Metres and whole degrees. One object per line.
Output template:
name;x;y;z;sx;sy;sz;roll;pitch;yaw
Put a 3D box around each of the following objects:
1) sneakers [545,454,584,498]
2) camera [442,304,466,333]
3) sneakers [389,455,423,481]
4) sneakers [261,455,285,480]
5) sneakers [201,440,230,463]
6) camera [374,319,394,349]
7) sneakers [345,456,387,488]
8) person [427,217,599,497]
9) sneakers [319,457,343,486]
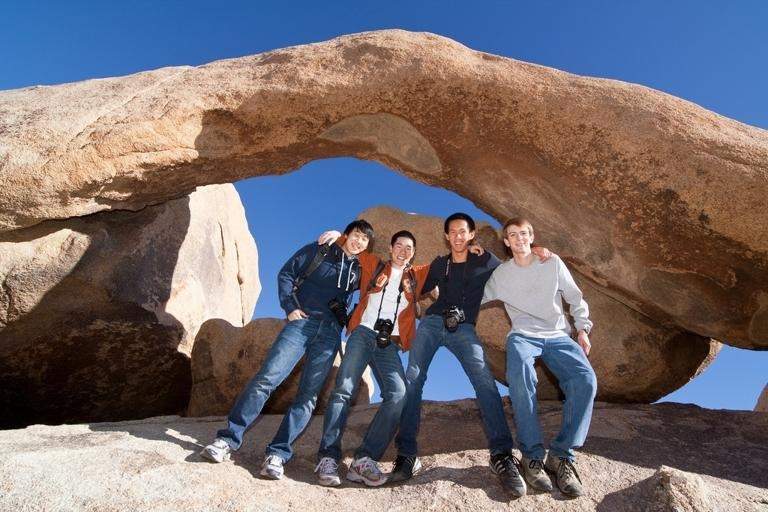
sneakers;1.887;2.287;6.364;0.223;0.212;0.505;2;10;-22
camera;0.783;0.693;6.872;0.254;0.256;0.170;7;17;24
sneakers;0.235;2.310;6.580;0.425;0.251;0.194;6;12;-18
sneakers;-1.166;2.226;6.368;0.246;0.245;0.187;9;12;-6
sneakers;-1.755;2.050;6.371;0.155;0.147;0.340;18;-20;6
camera;0.001;0.864;6.901;0.234;0.303;0.251;8;12;-10
sneakers;-0.194;2.305;6.451;0.497;0.249;0.208;-5;-14;36
person;1.726;1.031;6.629;1.034;2.625;1.491;8;12;-9
sneakers;-0.585;2.302;6.433;0.281;0.266;0.204;9;12;-2
